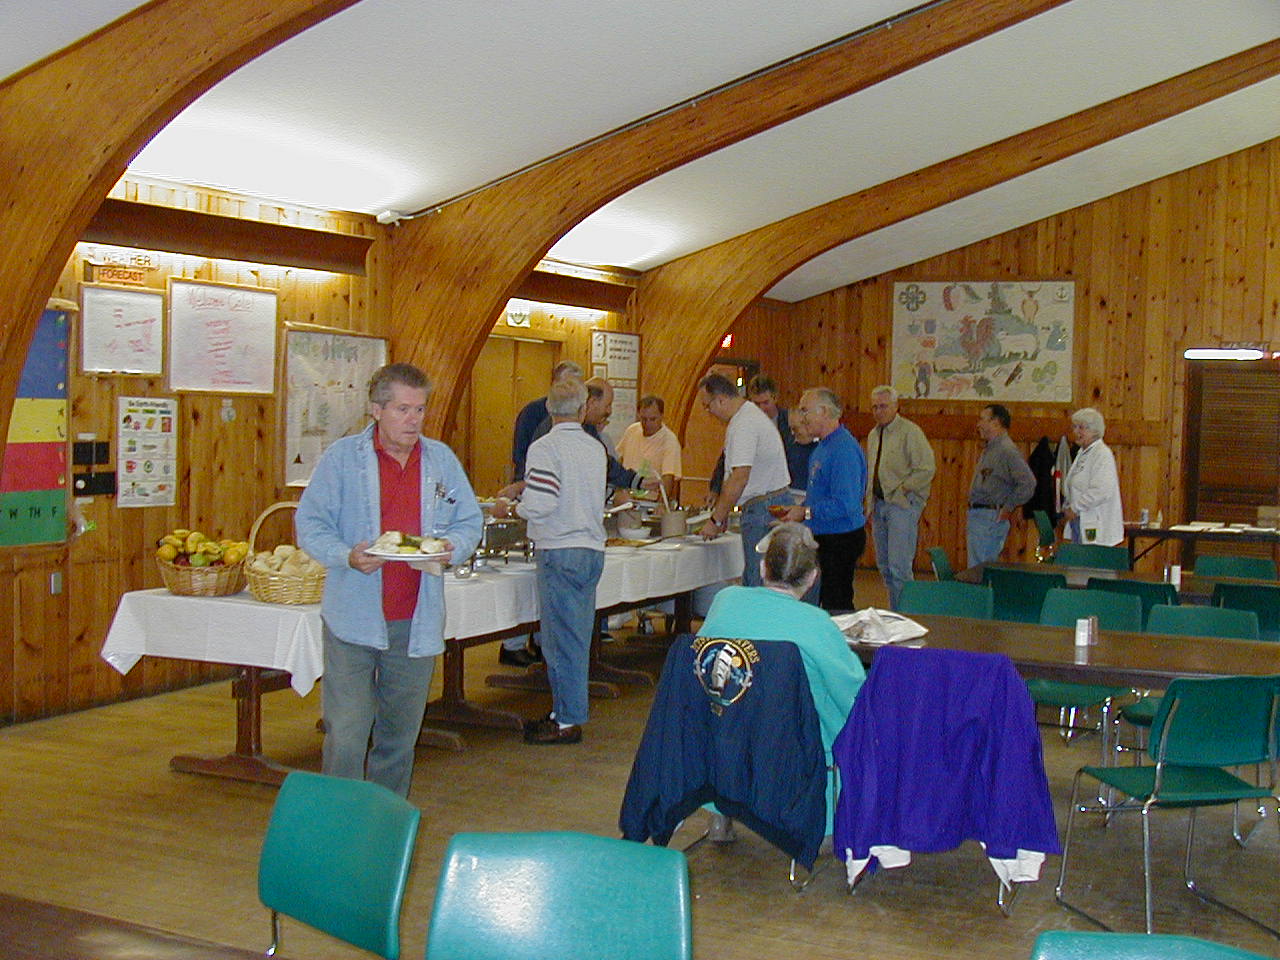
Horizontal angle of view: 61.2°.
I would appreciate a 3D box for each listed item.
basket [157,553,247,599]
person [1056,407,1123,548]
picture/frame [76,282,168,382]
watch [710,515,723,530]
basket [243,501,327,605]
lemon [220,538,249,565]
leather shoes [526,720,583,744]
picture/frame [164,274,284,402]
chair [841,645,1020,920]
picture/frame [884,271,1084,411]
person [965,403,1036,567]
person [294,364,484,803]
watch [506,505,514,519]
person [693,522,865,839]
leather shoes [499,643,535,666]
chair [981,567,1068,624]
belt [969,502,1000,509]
[{"bbox_3d":[-2.085,0.464,5.133,0.372,0.172,0.228,1,-1,-21],"label":"basket"},{"bbox_3d":[3.550,-0.038,8.393,0.405,1.049,0.723,0,-1,11],"label":"person"},{"bbox_3d":[-3.109,-0.889,6.434,0.079,0.615,0.607,0,2,39],"label":"picture/frame"},{"bbox_3d":[0.489,0.268,6.911,0.076,0.078,0.099,3,-3,14],"label":"watch"},{"bbox_3d":[-1.691,0.347,5.172,0.501,0.511,0.407,0,1,39],"label":"basket"},{"bbox_3d":[-1.946,0.346,5.218,0.102,0.080,0.170,3,7,-11],"label":"lemon"},{"bbox_3d":[-0.480,1.389,5.935,0.243,0.099,0.140,5,-1,1],"label":"leather shoes"},{"bbox_3d":[-2.702,-0.919,6.926,0.107,0.747,0.786,6,10,42],"label":"picture/frame"},{"bbox_3d":[1.040,1.072,3.885,0.921,0.926,0.459,1,6,16],"label":"chair"},{"bbox_3d":[4.001,-1.582,12.236,1.771,1.307,0.069,1,1,20],"label":"picture/frame"},{"bbox_3d":[3.053,0.045,9.161,0.517,1.351,0.585,0,-1,17],"label":"person"},{"bbox_3d":[-0.948,0.399,4.045,0.583,1.624,0.514,0,-1,12],"label":"person"},{"bbox_3d":[-0.774,0.187,6.432,0.027,0.084,0.021,6,6,30],"label":"watch"},{"bbox_3d":[0.558,0.805,4.220,0.691,1.236,0.569,7,10,28],"label":"person"},{"bbox_3d":[-0.858,1.244,7.689,0.301,0.219,0.104,0,0,12],"label":"leather shoes"},{"bbox_3d":[2.299,0.611,6.464,0.406,0.424,0.406,4,13,29],"label":"chair"},{"bbox_3d":[2.895,0.220,9.102,0.191,0.055,0.072,0,-1,18],"label":"belt"}]
